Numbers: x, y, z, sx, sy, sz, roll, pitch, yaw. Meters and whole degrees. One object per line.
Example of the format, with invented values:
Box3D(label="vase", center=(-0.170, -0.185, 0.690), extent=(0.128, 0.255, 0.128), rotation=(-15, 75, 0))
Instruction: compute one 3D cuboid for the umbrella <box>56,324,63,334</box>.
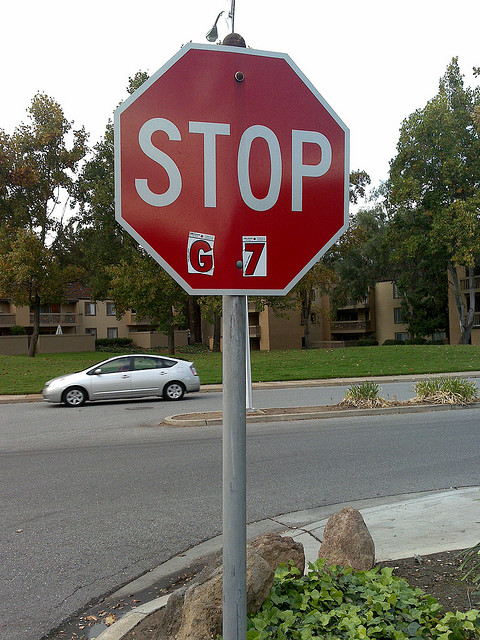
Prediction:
Box3D(label="umbrella", center=(-17.122, 0.769, 55.033), extent=(0.663, 1.455, 0.597), rotation=(-4, -8, 37))

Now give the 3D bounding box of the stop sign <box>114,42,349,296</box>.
Box3D(label="stop sign", center=(-0.013, -0.310, 1.556), extent=(0.619, 1.048, 0.120), rotation=(3, -31, -4))
